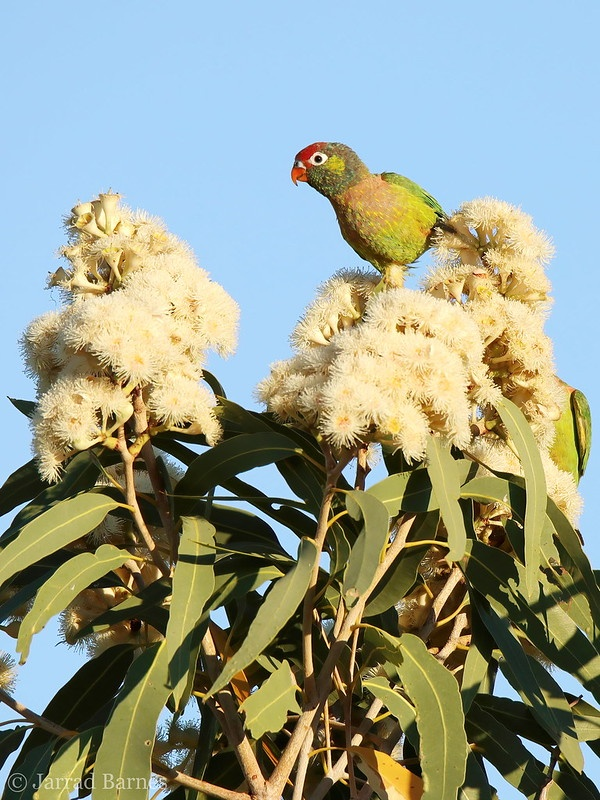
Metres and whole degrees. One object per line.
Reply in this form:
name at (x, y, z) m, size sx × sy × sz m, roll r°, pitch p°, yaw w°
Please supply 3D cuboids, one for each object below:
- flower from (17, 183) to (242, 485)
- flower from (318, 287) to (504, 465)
flower at (-0.403, -0.154, 3.486) m, size 0.501 × 0.732 × 0.340 m, roll 10°, pitch -20°, yaw -4°
flower at (0.254, -0.059, 3.337) m, size 0.419 × 0.461 × 0.251 m, roll 12°, pitch -20°, yaw -7°
